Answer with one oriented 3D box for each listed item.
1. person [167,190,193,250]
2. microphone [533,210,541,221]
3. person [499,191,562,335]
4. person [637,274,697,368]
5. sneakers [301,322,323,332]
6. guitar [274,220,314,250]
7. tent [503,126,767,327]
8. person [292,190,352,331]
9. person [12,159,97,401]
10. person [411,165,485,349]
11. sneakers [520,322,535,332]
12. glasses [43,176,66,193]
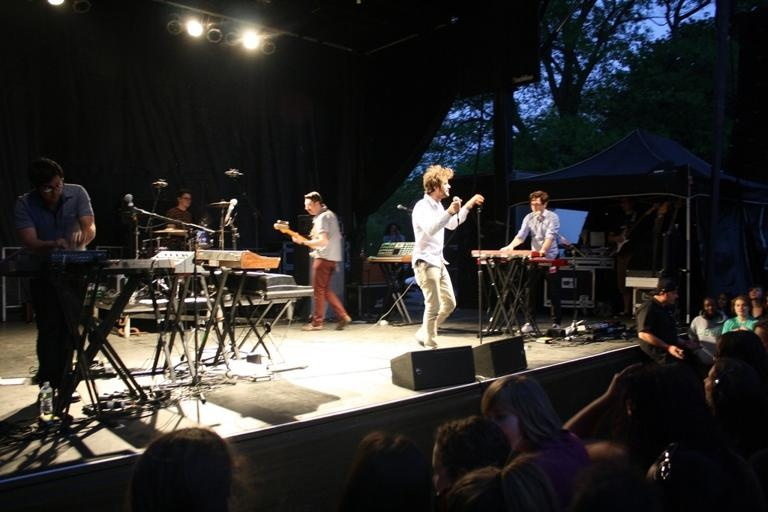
[{"bbox_3d":[-2.952,-0.534,8.989,0.341,0.850,0.705,0,1,-19],"label":"person"},{"bbox_3d":[2.078,-0.545,8.381,0.118,0.096,0.091,-5,8,-23],"label":"microphone"},{"bbox_3d":[1.973,0.118,8.261,0.991,1.879,0.899,0,3,-6],"label":"person"},{"bbox_3d":[3.142,0.717,6.913,0.602,0.939,0.518,1,1,16],"label":"person"},{"bbox_3d":[-1.006,0.980,8.663,0.283,0.095,0.104,1,-9,9],"label":"sneakers"},{"bbox_3d":[-1.354,-0.312,9.265,0.407,0.112,0.409,34,21,31],"label":"guitar"},{"bbox_3d":[4.206,-0.480,10.579,3.561,2.580,3.265,-1,3,21],"label":"tent"},{"bbox_3d":[-0.851,0.058,8.578,0.595,1.888,0.864,1,1,19],"label":"person"},{"bbox_3d":[-2.686,0.143,5.050,0.584,1.893,0.589,0,1,-21],"label":"person"},{"bbox_3d":[0.606,0.001,6.694,0.678,2.062,0.724,1,1,16],"label":"person"},{"bbox_3d":[1.855,0.915,8.075,0.143,0.136,0.401,1,1,17],"label":"sneakers"},{"bbox_3d":[-2.674,-0.568,5.027,0.122,0.067,0.153,-18,-2,-41],"label":"glasses"}]
